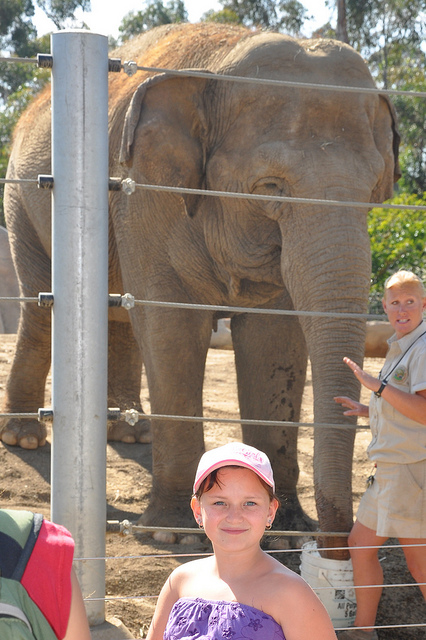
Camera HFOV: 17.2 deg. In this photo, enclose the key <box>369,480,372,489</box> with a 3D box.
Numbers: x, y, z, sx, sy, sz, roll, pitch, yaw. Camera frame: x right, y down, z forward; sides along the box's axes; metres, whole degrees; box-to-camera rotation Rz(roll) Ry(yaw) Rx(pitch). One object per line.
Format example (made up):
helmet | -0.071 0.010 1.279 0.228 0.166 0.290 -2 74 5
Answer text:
key | 0.410 0.424 3.635 0.005 0.019 0.012 3 -3 -17
